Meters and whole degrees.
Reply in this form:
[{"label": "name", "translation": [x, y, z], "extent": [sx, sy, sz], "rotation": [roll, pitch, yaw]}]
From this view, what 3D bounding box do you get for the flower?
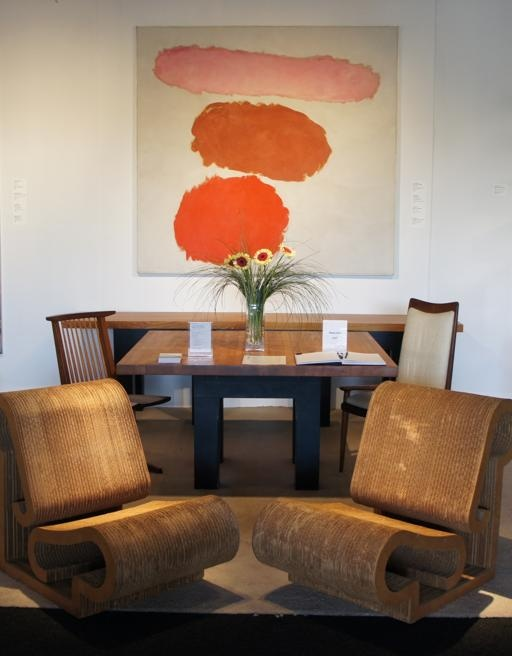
[{"label": "flower", "translation": [0.085, -0.262, 3.096], "extent": [0.777, 0.419, 0.723], "rotation": [1, 7, 6]}]
